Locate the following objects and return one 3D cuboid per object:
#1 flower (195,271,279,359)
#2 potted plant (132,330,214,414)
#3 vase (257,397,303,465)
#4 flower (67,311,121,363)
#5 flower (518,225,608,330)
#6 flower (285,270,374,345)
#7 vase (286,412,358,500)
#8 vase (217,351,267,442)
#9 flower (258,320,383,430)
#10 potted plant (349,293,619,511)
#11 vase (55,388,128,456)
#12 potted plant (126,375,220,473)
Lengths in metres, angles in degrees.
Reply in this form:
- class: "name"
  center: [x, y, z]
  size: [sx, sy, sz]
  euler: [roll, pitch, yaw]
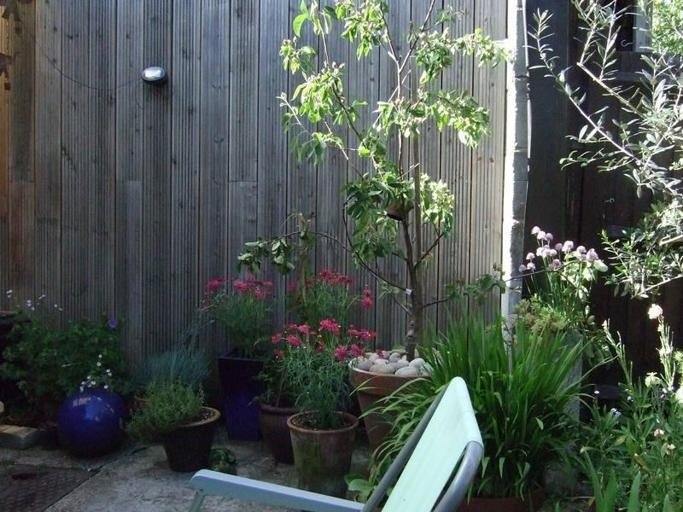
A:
- class: "flower"
  center: [-0.718, 0.398, 4.434]
  size: [0.452, 0.706, 0.553]
  euler: [-1, -1, 9]
- class: "potted plant"
  center: [-1.161, 0.764, 4.187]
  size: [0.465, 0.351, 0.499]
  euler: [-10, 5, 20]
- class: "vase"
  center: [-0.404, 1.116, 3.908]
  size: [0.282, 0.348, 0.296]
  euler: [1, -2, -26]
- class: "flower"
  center: [-1.724, 0.581, 4.189]
  size: [0.319, 0.223, 0.358]
  euler: [11, 13, -20]
- class: "flower"
  center: [1.272, 0.146, 3.479]
  size: [0.360, 0.437, 0.303]
  euler: [4, -9, 37]
- class: "flower"
  center: [-0.115, 0.360, 4.219]
  size: [0.547, 0.648, 0.490]
  euler: [-7, 0, 19]
- class: "vase"
  center: [-0.102, 1.172, 3.555]
  size: [0.373, 0.466, 0.401]
  euler: [3, 4, 18]
- class: "vase"
  center: [-0.635, 0.979, 4.206]
  size: [0.434, 0.553, 0.456]
  euler: [4, -6, -38]
- class: "flower"
  center: [-0.092, 0.720, 3.665]
  size: [0.554, 0.677, 0.484]
  euler: [3, 6, 21]
- class: "potted plant"
  center: [0.760, 0.672, 3.120]
  size: [0.964, 0.827, 0.928]
  euler: [-2, -2, 18]
- class: "vase"
  center: [-1.555, 1.037, 3.988]
  size: [0.364, 0.514, 0.397]
  euler: [-2, -1, 25]
- class: "potted plant"
  center: [-1.051, 0.999, 3.893]
  size: [0.483, 0.593, 0.528]
  euler: [-1, 2, -4]
